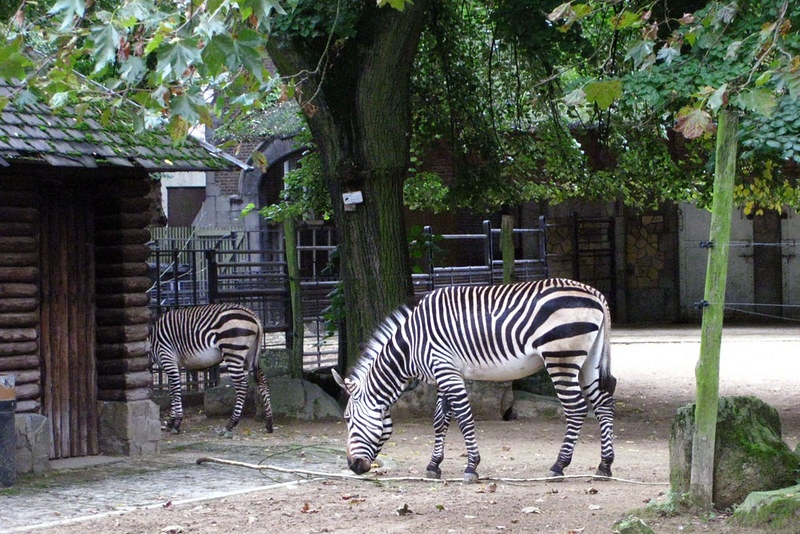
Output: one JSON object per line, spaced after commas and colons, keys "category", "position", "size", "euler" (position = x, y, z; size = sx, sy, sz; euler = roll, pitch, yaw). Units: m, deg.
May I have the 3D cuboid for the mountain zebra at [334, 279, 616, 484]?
{"category": "mountain zebra", "position": [0.949, 1.510, 12.900], "size": [3.480, 2.563, 0.994], "euler": [-5, -4, 14]}

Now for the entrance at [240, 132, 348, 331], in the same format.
{"category": "entrance", "position": [-2.495, -0.724, 19.267], "size": [1.653, 3.415, 1.814], "euler": [11, -8, -4]}
